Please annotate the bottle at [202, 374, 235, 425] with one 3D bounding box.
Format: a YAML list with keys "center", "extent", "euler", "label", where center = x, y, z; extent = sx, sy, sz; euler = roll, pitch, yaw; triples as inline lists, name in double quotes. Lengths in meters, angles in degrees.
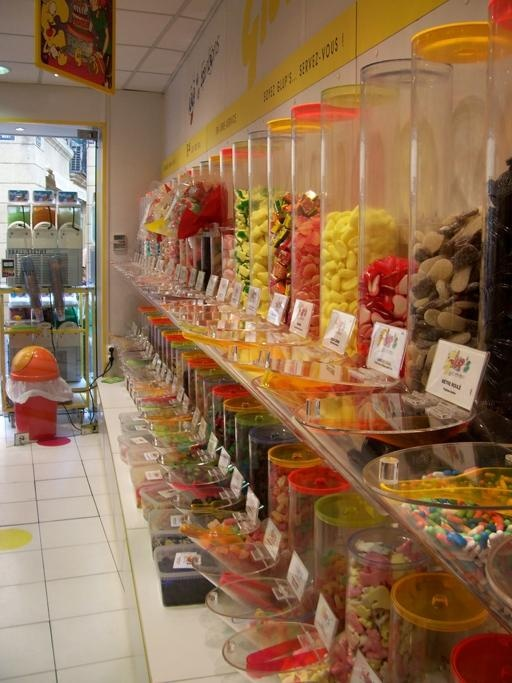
- center: [-0.123, 0.170, 1.553]
  extent: [0.105, 0.160, 0.104]
  euler: [-2, 0, 0]
  label: "bottle"

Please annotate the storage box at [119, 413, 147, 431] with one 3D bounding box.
- center: [-0.559, 0.369, 2.318]
  extent: [0.104, 0.039, 0.171]
  euler: [0, 2, -16]
  label: "storage box"

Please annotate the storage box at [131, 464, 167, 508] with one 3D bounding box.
- center: [-0.377, 0.466, 1.723]
  extent: [0.133, 0.069, 0.194]
  euler: [0, -1, -16]
  label: "storage box"

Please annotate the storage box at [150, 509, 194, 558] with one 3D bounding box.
- center: [-0.238, 0.491, 1.385]
  extent: [0.112, 0.056, 0.159]
  euler: [-1, 7, -16]
  label: "storage box"

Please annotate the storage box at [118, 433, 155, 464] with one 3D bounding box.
- center: [-0.459, 0.394, 1.978]
  extent: [0.123, 0.056, 0.170]
  euler: [1, -2, -15]
  label: "storage box"

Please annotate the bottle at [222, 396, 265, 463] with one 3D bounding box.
- center: [-0.032, 0.208, 1.270]
  extent: [0.148, 0.114, 0.146]
  euler: [3, 9, 0]
  label: "bottle"

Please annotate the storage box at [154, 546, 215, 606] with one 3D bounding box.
- center: [-0.170, 0.504, 1.167]
  extent: [0.113, 0.069, 0.167]
  euler: [0, -1, -11]
  label: "storage box"

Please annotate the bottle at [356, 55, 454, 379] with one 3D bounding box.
- center: [0.225, -0.155, 0.782]
  extent: [0.132, 0.502, 0.128]
  euler: [4, -34, 3]
  label: "bottle"

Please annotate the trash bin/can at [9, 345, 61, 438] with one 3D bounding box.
- center: [-1.896, 0.466, 4.372]
  extent: [0.370, 0.832, 0.235]
  euler: [-2, 7, -25]
  label: "trash bin/can"
